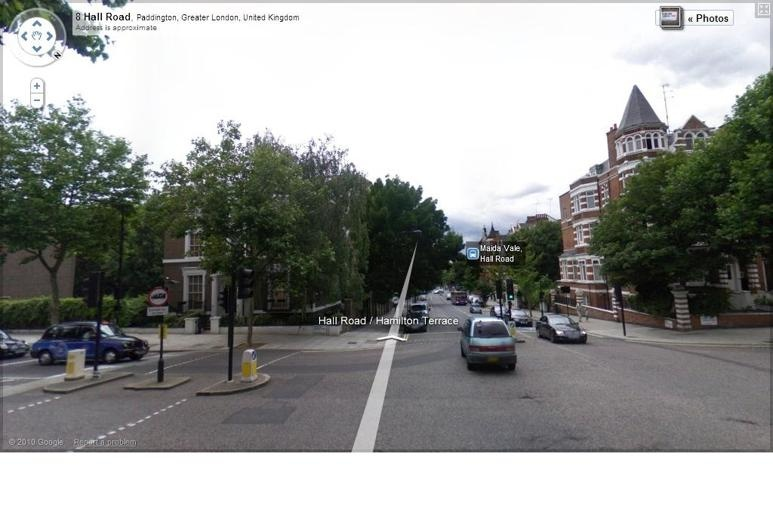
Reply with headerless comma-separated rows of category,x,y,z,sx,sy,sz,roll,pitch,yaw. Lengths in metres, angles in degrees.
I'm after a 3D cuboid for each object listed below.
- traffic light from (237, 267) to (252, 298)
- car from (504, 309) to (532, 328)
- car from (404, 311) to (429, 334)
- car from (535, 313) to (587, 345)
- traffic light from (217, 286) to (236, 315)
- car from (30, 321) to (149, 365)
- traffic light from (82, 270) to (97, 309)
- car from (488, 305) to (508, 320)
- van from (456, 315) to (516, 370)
traffic light,-7.162,1.372,29.854,0.490,1.538,0.766,2,8,17
car,11.791,5.487,51.882,1.338,1.067,2.964,-1,-14,4
car,1.959,4.992,42.028,1.206,1.398,3.105,3,7,22
car,11.693,5.025,39.637,2.033,1.649,3.285,-2,7,-15
traffic light,-8.185,2.378,30.607,0.660,1.393,1.847,-4,8,-23
car,-17.221,5.010,34.019,5.780,2.434,1.424,0,8,1
traffic light,-15.007,1.747,30.237,0.590,1.714,0.455,-5,9,-33
car,9.956,4.961,52.173,1.611,1.319,3.559,-1,-11,3
van,5.286,4.434,30.887,1.739,1.601,3.412,-1,2,3
